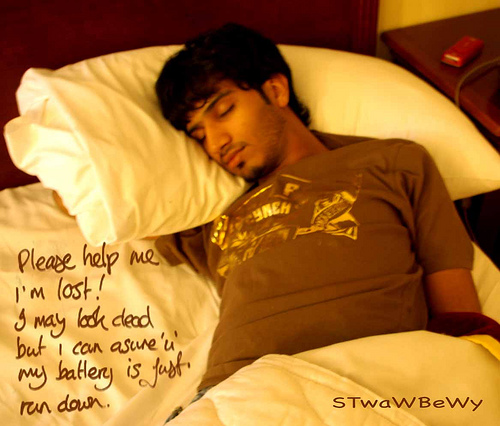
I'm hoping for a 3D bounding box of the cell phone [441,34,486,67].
[{"bbox_3d":[0.679,-0.521,1.568,0.085,0.046,0.155,24,57,29],"label":"cell phone"}]

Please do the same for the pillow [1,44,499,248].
[{"bbox_3d":[-0.036,-0.273,1.428,1.168,0.340,0.776,-20,47,-20],"label":"pillow"}]

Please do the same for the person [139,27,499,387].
[{"bbox_3d":[0.085,-0.090,1.333,0.816,0.671,0.881,-22,31,-14],"label":"person"}]
